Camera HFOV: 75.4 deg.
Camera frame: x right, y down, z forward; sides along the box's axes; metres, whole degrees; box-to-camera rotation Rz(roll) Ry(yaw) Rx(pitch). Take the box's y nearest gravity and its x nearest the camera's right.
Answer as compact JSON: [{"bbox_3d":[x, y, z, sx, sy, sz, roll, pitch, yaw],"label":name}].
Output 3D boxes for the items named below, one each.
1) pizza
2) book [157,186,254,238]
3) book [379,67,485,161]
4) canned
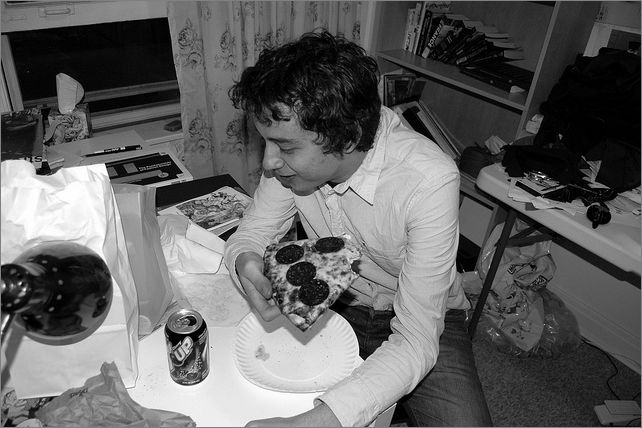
[{"bbox_3d":[-0.022,0.160,1.182,0.257,0.125,0.283,-11,37,-20],"label":"pizza"},{"bbox_3d":[-0.421,-0.017,1.654,0.207,0.051,0.213,-29,43,-28],"label":"book"},{"bbox_3d":[0.588,-0.644,2.752,0.603,0.148,0.587,44,14,2],"label":"book"},{"bbox_3d":[-0.353,0.353,1.095,0.099,0.182,0.102,6,34,5],"label":"canned"}]
